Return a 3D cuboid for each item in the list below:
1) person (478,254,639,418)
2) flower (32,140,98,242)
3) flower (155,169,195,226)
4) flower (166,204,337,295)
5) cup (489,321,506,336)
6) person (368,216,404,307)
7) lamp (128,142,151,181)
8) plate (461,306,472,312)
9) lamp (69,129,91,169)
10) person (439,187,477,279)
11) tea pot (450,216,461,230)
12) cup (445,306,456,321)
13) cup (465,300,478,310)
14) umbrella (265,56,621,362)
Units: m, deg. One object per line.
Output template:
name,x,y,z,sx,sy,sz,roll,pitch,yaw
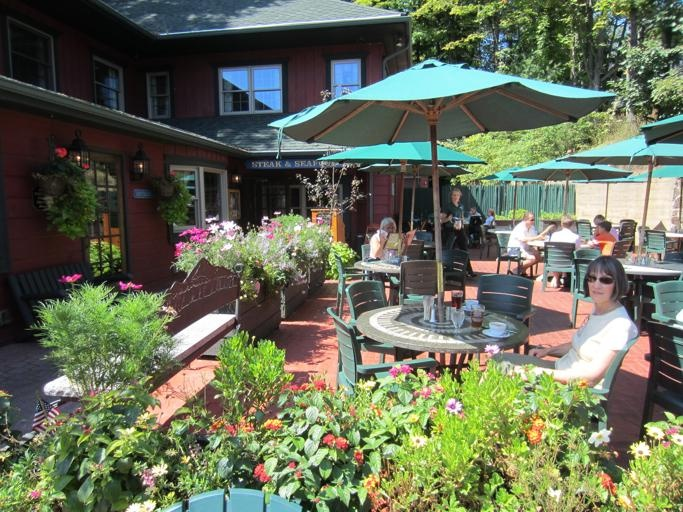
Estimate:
person,1.816,0.506,4.253,0.824,0.958,0.878,-8,11,-29
flower,-3.791,-0.783,7.336,0.744,1.060,0.439,-7,11,-24
flower,-3.235,-1.120,10.368,0.694,0.892,0.541,-8,-15,-12
flower,-1.048,-0.085,7.659,1.351,0.670,2.006,8,9,30
cup,1.293,0.600,4.468,0.104,0.077,0.114,-2,0,0
person,0.824,0.101,8.415,0.521,1.280,0.702,-12,-29,5
lamp,-3.585,-1.658,9.527,0.311,0.644,0.448,-3,10,-3
plate,1.171,0.495,5.048,0.020,0.058,0.080,-1,-3,-43
lamp,-3.805,-1.549,7.796,0.273,0.555,0.261,-19,19,-38
person,2.510,-0.562,11.646,0.603,1.747,0.585,-3,12,1
tea pot,2.384,-0.679,11.234,0.164,0.268,0.242,-6,27,-7
cup,0.971,0.519,4.843,0.095,0.182,0.103,0,6,0
cup,1.204,0.455,5.025,0.093,0.072,0.098,1,0,0
umbrella,0.936,-0.683,5.078,2.765,2.063,2.991,1,4,11
